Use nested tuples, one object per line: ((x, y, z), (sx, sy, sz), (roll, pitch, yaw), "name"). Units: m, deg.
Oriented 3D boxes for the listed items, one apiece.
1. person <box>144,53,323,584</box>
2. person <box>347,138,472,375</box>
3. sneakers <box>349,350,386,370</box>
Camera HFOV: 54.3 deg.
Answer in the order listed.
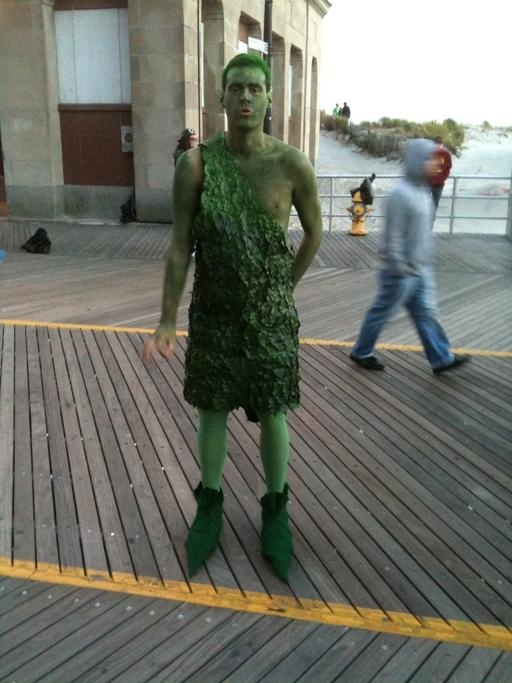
((-0.065, -0.049, 1.793), (0.566, 1.769, 0.384), (2, 12, 6), "person")
((1.260, -0.687, 4.086), (0.839, 1.878, 0.473), (-3, 12, -17), "person")
((0.958, 0.171, 4.303), (0.319, 0.133, 0.120), (16, 31, 23), "sneakers")
